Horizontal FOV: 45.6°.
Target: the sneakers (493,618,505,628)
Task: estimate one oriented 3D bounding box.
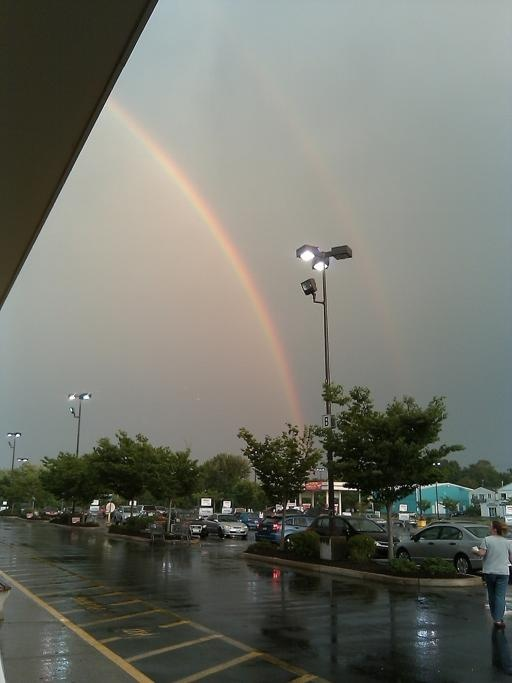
[{"bbox_3d":[3.736,4.307,9.281,0.212,0.127,0.140,5,-12,-35],"label":"sneakers"}]

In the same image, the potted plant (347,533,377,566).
[{"bbox_3d":[3.301,6.314,18.481,0.759,0.844,0.783,-1,-24,-8],"label":"potted plant"}]
